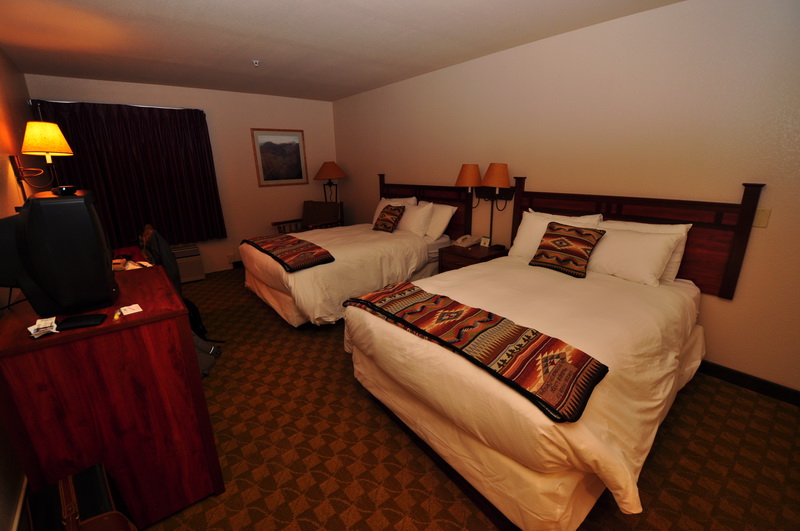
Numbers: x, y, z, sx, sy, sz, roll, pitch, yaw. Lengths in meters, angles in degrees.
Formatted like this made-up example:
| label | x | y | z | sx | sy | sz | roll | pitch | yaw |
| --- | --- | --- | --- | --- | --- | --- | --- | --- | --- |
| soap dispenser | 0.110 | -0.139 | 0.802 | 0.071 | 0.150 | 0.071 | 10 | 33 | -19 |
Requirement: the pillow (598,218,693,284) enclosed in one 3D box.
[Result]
| label | x | y | z | sx | sy | sz | roll | pitch | yaw |
| --- | --- | --- | --- | --- | --- | --- | --- | --- | --- |
| pillow | 2.484 | -0.110 | 4.405 | 0.167 | 0.566 | 0.593 | 15 | -1 | -39 |

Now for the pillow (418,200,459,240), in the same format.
| label | x | y | z | sx | sy | sz | roll | pitch | yaw |
| --- | --- | --- | --- | --- | --- | --- | --- | --- | --- |
| pillow | 0.529 | -0.562 | 6.034 | 0.149 | 0.442 | 0.463 | 18 | 6 | -37 |

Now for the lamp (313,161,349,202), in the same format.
| label | x | y | z | sx | sy | sz | roll | pitch | yaw |
| --- | --- | --- | --- | --- | --- | --- | --- | --- | --- |
| lamp | -1.156 | -1.423 | 7.755 | 0.480 | 0.777 | 0.491 | 20 | 28 | 40 |

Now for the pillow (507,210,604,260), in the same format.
| label | x | y | z | sx | sy | sz | roll | pitch | yaw |
| --- | --- | --- | --- | --- | --- | --- | --- | --- | --- |
| pillow | 1.575 | -0.248 | 5.011 | 0.205 | 0.524 | 0.740 | 29 | -8 | -27 |

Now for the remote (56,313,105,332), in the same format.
| label | x | y | z | sx | sy | sz | roll | pitch | yaw |
| --- | --- | --- | --- | --- | --- | --- | --- | --- | --- |
| remote | -2.186 | 0.376 | 3.191 | 0.351 | 0.073 | 0.164 | 0 | 17 | -3 |

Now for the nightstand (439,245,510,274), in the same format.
| label | x | y | z | sx | sy | sz | roll | pitch | yaw |
| --- | --- | --- | --- | --- | --- | --- | --- | --- | --- |
| nightstand | 0.864 | -0.195 | 5.580 | 0.468 | 0.428 | 0.452 | -12 | 17 | -36 |

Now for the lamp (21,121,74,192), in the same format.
| label | x | y | z | sx | sy | sz | roll | pitch | yaw |
| --- | --- | --- | --- | --- | --- | --- | --- | --- | --- |
| lamp | -3.913 | -1.217 | 5.254 | 0.378 | 0.760 | 1.492 | -11 | 21 | -32 |

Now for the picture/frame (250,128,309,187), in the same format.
| label | x | y | z | sx | sy | sz | roll | pitch | yaw |
| --- | --- | --- | --- | --- | --- | --- | --- | --- | --- |
| picture/frame | -1.930 | -1.713 | 7.331 | 0.925 | 0.896 | 0.065 | -10 | 18 | -40 |

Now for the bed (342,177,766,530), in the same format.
| label | x | y | z | sx | sy | sz | roll | pitch | yaw |
| --- | --- | --- | --- | --- | --- | --- | --- | --- | --- |
| bed | 1.500 | 0.589 | 4.311 | 2.911 | 2.056 | 2.951 | 12 | 20 | 42 |
